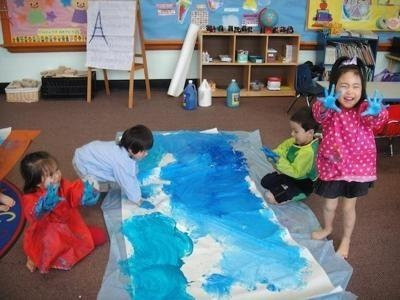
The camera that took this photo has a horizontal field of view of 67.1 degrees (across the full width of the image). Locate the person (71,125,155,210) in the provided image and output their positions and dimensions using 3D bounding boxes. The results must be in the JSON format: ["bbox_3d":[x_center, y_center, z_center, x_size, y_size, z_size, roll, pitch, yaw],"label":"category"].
[{"bbox_3d":[-0.643,0.005,2.451,0.688,0.523,0.776,-5,-30,-25],"label":"person"}]

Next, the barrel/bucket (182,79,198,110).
[{"bbox_3d":[-0.160,-0.851,4.693,0.215,0.438,0.189,-2,13,-4],"label":"barrel/bucket"}]

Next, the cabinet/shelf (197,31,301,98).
[{"bbox_3d":[0.840,-1.543,5.332,1.256,0.825,0.394,-1,20,-2],"label":"cabinet/shelf"}]

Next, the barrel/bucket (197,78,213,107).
[{"bbox_3d":[0.089,-0.915,4.852,0.247,0.422,0.168,-4,13,-14],"label":"barrel/bucket"}]

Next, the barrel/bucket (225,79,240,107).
[{"bbox_3d":[0.557,-0.909,4.872,0.274,0.431,0.254,-1,13,0],"label":"barrel/bucket"}]

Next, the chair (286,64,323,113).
[{"bbox_3d":[1.601,-0.826,4.245,0.433,0.646,0.445,20,40,14],"label":"chair"}]

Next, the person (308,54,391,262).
[{"bbox_3d":[0.925,0.082,1.938,0.411,1.310,0.421,7,15,31],"label":"person"}]

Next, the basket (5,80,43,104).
[{"bbox_3d":[-2.957,-0.972,5.062,0.423,0.274,0.434,-2,17,-9],"label":"basket"}]

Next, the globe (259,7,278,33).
[{"bbox_3d":[1.177,-2.237,5.186,0.305,0.436,0.290,1,13,7],"label":"globe"}]
